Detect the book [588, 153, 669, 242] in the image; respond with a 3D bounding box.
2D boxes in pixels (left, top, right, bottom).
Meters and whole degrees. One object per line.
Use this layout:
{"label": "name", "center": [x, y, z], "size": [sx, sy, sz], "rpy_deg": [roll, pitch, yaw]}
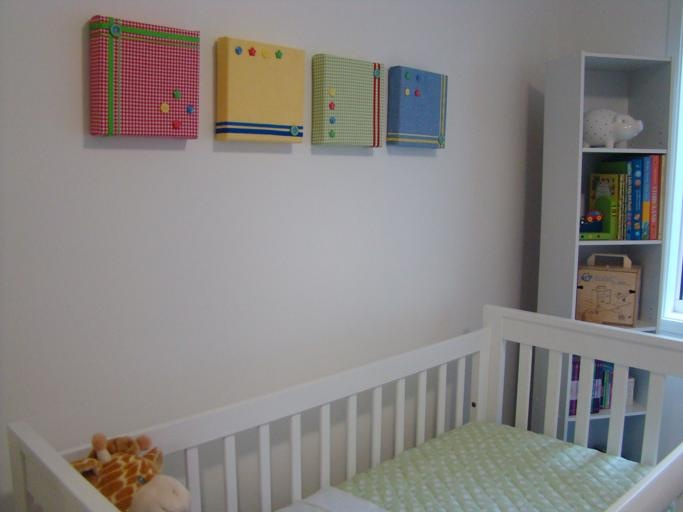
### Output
{"label": "book", "center": [1.303, -0.269, 2.409], "size": [0.300, 0.371, 0.238], "rpy_deg": [3, 13, 18]}
